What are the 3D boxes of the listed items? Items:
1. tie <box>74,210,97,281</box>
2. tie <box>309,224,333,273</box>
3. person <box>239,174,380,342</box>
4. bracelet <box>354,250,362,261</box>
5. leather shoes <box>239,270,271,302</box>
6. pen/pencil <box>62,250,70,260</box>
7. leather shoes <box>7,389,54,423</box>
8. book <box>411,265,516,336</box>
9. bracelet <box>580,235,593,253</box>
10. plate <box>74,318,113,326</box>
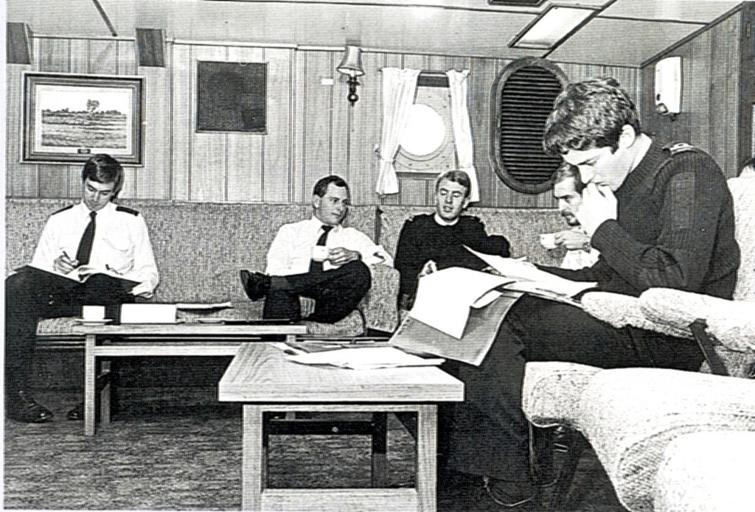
[{"bbox_3d":[-1.423,-0.058,6.034,0.096,0.327,0.026,13,1,-19],"label":"tie"},{"bbox_3d":[-0.267,-0.034,5.987,0.135,0.204,0.057,9,-8,-7],"label":"tie"},{"bbox_3d":[-0.353,0.018,6.015,0.895,0.822,0.550,4,1,-21],"label":"person"},{"bbox_3d":[-0.092,-0.003,6.045,0.035,0.041,0.014,-24,10,-18],"label":"bracelet"},{"bbox_3d":[-0.594,0.135,6.006,0.101,0.192,0.078,-1,-7,-4],"label":"leather shoes"},{"bbox_3d":[-1.510,-0.009,6.004,0.027,0.035,0.008,-33,29,1],"label":"pen/pencil"},{"bbox_3d":[-1.667,0.724,5.940,0.208,0.154,0.068,-2,8,-16],"label":"leather shoes"},{"bbox_3d":[0.362,0.215,5.775,0.421,0.278,0.354,2,7,21],"label":"book"},{"bbox_3d":[1.019,-0.056,6.032,0.046,0.064,0.026,1,-5,6],"label":"bracelet"},{"bbox_3d":[-1.373,0.322,5.983,0.203,0.022,0.049,2,-4,0],"label":"plate"}]
